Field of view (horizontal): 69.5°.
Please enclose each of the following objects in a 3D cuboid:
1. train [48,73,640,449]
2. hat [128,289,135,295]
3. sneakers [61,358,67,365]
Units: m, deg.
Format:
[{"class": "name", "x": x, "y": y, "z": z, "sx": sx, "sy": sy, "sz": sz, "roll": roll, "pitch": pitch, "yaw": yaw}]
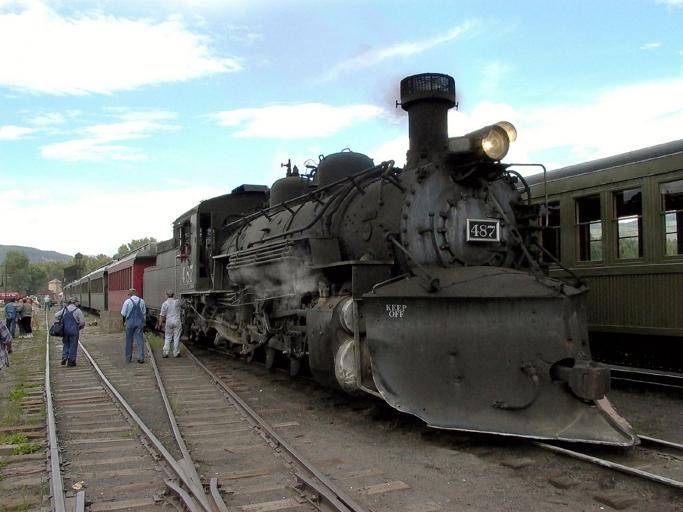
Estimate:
[{"class": "train", "x": -0.437, "y": 0.416, "z": 10.402, "sx": 3.348, "sy": 4.449, "sz": 11.687, "roll": 1, "pitch": -5, "yaw": -23}, {"class": "hat", "x": -5.209, "y": 0.870, "z": 12.266, "sx": 0.160, "sy": 0.088, "sz": 0.229, "roll": 4, "pitch": -6, "yaw": -23}, {"class": "sneakers", "x": -6.670, "y": 2.516, "z": 11.843, "sx": 0.134, "sy": 0.141, "sz": 0.240, "roll": 2, "pitch": 0, "yaw": -21}]
